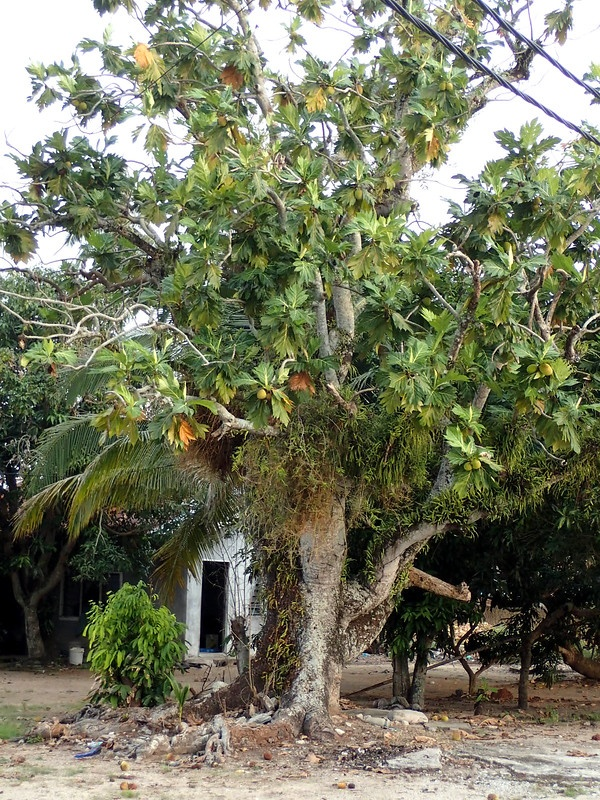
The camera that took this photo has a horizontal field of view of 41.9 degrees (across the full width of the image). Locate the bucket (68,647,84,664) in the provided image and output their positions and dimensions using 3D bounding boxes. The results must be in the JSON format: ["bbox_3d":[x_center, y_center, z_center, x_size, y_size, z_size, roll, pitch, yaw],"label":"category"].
[{"bbox_3d":[-5.154,5.913,18.075,0.421,0.388,0.431,-2,-18,-1],"label":"bucket"}]
